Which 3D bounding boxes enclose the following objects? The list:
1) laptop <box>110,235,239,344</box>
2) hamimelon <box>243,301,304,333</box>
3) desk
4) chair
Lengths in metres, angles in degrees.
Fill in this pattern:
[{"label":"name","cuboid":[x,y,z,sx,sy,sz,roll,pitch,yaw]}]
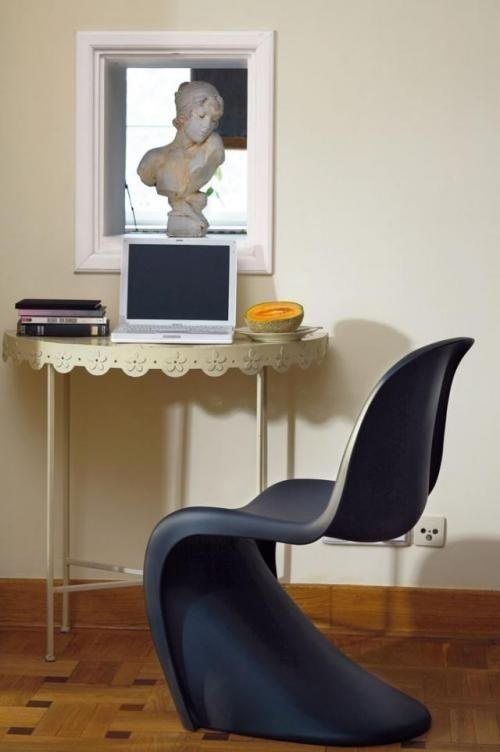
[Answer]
[{"label":"laptop","cuboid":[-0.171,-0.211,1.767,0.351,0.302,0.255,1,6,-1]},{"label":"hamimelon","cuboid":[0.050,-0.145,1.752,0.136,0.074,0.134,1,8,-4]},{"label":"desk","cuboid":[-0.212,0.173,2.062,0.941,0.928,0.671,0,1,-2]},{"label":"chair","cuboid":[0.133,0.323,1.390,0.503,0.790,0.457,2,4,25]}]
